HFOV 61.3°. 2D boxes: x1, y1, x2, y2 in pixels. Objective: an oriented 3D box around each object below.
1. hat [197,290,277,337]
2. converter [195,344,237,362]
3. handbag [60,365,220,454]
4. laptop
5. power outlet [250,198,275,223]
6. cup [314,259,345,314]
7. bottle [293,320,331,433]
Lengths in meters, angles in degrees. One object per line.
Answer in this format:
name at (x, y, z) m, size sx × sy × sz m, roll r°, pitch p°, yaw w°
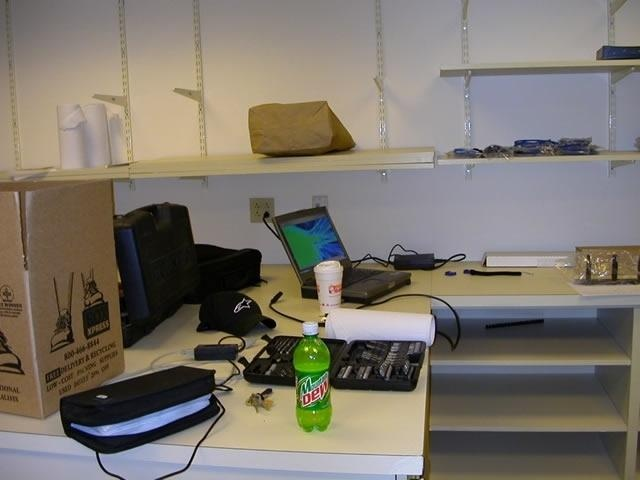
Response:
hat at (-0.302, 0.250, 1.887) m, size 0.209 × 0.106 × 0.150 m, roll -1°, pitch 2°, yaw 19°
converter at (-0.321, 0.348, 1.666) m, size 0.108 × 0.036 × 0.050 m, roll 0°, pitch 25°, yaw 3°
handbag at (-0.442, 0.369, 1.358) m, size 0.198 × 0.095 × 0.278 m, roll 8°, pitch 13°, yaw 43°
laptop at (0.093, 0.062, 2.228) m, size 0.415 × 0.327 × 0.460 m, roll -1°, pitch 8°, yaw 24°
power outlet at (-0.297, -0.159, 2.812) m, size 0.146 × 0.153 × 0.015 m, roll 1°, pitch 12°, yaw 4°
cup at (0.048, 0.175, 1.974) m, size 0.120 × 0.189 × 0.072 m, roll -8°, pitch 14°, yaw -28°
bottle at (-0.017, 0.331, 1.390) m, size 0.099 × 0.257 × 0.186 m, roll -2°, pitch 12°, yaw -3°
